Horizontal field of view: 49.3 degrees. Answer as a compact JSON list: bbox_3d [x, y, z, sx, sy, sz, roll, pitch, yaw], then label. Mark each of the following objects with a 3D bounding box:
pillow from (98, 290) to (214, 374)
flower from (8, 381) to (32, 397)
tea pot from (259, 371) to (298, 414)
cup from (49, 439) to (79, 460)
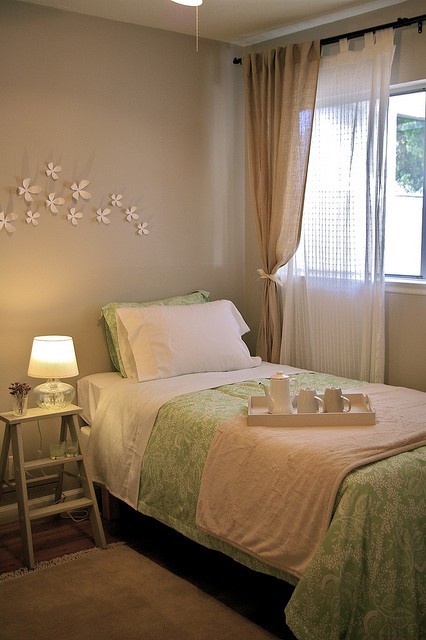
[{"bbox_3d":[-0.460,0.090,2.689,0.505,0.530,0.148,-1,-10,-42],"label":"pillow"},{"bbox_3d":[-0.934,0.328,2.222,0.094,0.075,0.103,-1,0,-25],"label":"flower"},{"bbox_3d":[0.246,0.279,1.809,0.163,0.187,0.103,-3,3,-32],"label":"tea pot"},{"bbox_3d":[-0.696,0.607,2.181,0.129,0.074,0.088,1,-4,-21],"label":"cup"}]
